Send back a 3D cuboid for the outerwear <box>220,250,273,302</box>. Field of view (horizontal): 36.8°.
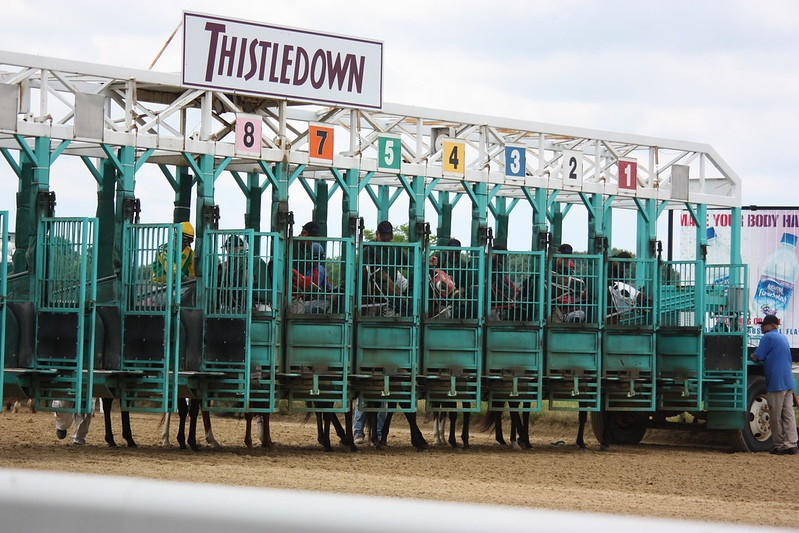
[{"bbox_3d":[-2.263,0.256,17.546,0.537,0.912,0.500,3,-8,-33],"label":"outerwear"}]

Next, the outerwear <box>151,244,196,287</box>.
[{"bbox_3d":[-3.288,-0.098,17.965,0.501,0.543,0.545,-10,-10,32],"label":"outerwear"}]

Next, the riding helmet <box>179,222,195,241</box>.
[{"bbox_3d":[-3.155,-0.531,18.004,0.187,0.246,0.129,2,-3,-25],"label":"riding helmet"}]

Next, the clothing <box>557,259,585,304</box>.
[{"bbox_3d":[2.792,0.255,19.556,0.330,0.722,0.503,-11,6,-41],"label":"clothing"}]

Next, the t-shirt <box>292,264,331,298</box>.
[{"bbox_3d":[-1.321,0.238,18.042,0.592,0.465,0.460,1,-3,-5],"label":"t-shirt"}]
